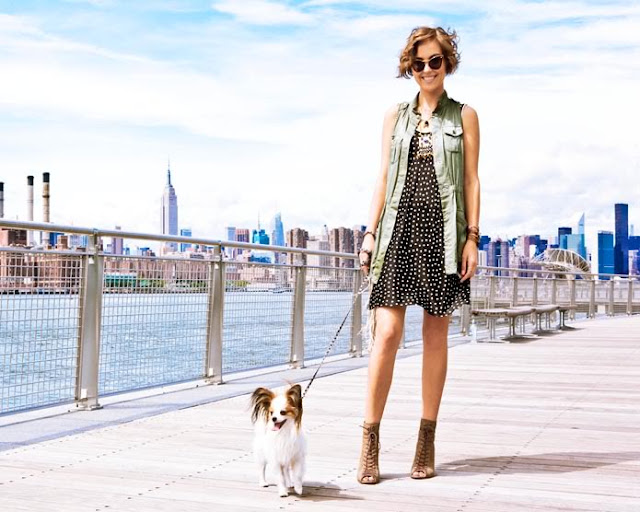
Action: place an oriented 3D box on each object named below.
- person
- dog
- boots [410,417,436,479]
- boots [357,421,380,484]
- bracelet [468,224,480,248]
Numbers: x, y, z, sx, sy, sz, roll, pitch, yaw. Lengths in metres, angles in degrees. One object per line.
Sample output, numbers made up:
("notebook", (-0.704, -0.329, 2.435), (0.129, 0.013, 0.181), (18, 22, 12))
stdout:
("person", (0.516, -0.019, 5.335), (0.624, 2.377, 0.247), (3, -3, 1))
("dog", (-0.208, 0.901, 5.036), (0.277, 0.560, 0.323), (2, -3, 18))
("boots", (0.541, 0.999, 5.330), (0.121, 0.297, 0.217), (3, -3, 6))
("boots", (0.254, 1.009, 5.231), (0.114, 0.299, 0.135), (2, -3, 7))
("bracelet", (0.789, -0.119, 5.303), (0.083, 0.069, 0.101), (1, -10, 1))
